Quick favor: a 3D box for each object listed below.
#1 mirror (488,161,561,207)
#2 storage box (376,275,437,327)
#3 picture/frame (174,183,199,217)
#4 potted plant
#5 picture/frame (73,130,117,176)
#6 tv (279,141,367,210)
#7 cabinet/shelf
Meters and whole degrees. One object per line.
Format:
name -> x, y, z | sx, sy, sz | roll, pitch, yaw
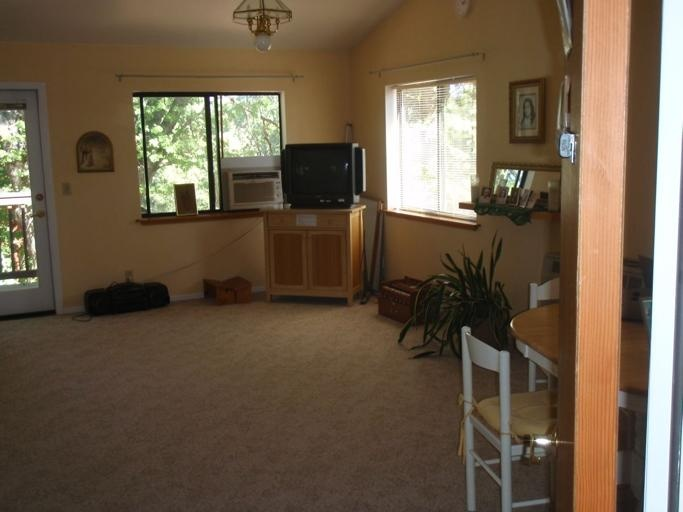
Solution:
mirror -> 1.392, -0.500, 4.253 | 0.042, 0.382, 0.787 | 6, 7, -28
storage box -> 0.586, 0.410, 5.202 | 0.277, 0.371, 0.451 | -9, 14, -33
picture/frame -> -1.680, -0.592, 5.990 | 0.302, 0.461, 0.046 | -7, 6, -22
potted plant -> 0.874, 0.343, 4.233 | 0.837, 1.014, 1.004 | -1, -2, 28
picture/frame -> -2.487, -1.029, 5.582 | 0.426, 0.541, 0.038 | -3, 12, -30
tv -> -0.171, -0.817, 5.774 | 1.008, 0.874, 0.568 | 1, 4, 11
cabinet/shelf -> -0.312, -0.028, 5.925 | 0.966, 0.943, 0.641 | 0, 0, 1
